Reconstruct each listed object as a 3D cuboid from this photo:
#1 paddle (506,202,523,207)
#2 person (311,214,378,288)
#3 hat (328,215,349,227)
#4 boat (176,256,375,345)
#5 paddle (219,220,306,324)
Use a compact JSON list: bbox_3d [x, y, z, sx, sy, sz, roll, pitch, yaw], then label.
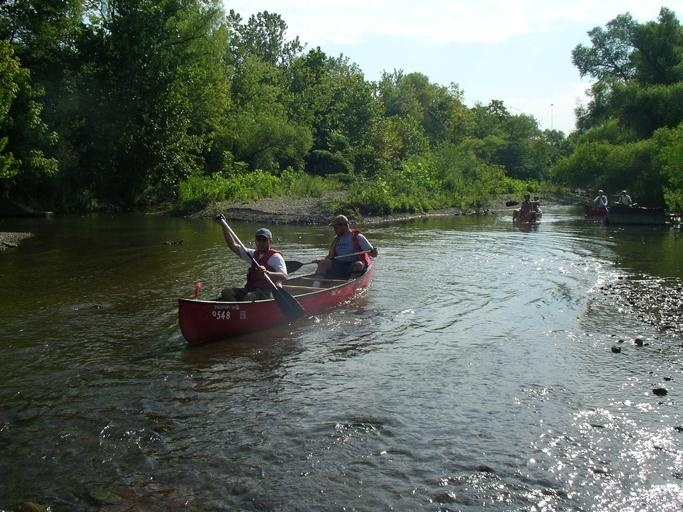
[{"bbox_3d":[12.248,-3.735,42.934,1.443,0.364,0.073,-4,-39,-34],"label":"paddle"},{"bbox_3d":[0.034,-0.068,13.743,1.642,1.576,1.140,1,0,-7],"label":"person"},{"bbox_3d":[-0.120,-0.816,13.668,0.526,0.260,0.365,3,5,14],"label":"hat"},{"bbox_3d":[-0.885,0.615,11.595,1.206,0.785,5.248,3,6,35],"label":"boat"},{"bbox_3d":[-1.765,0.332,13.216,0.582,3.516,0.272,-42,10,7],"label":"paddle"}]
